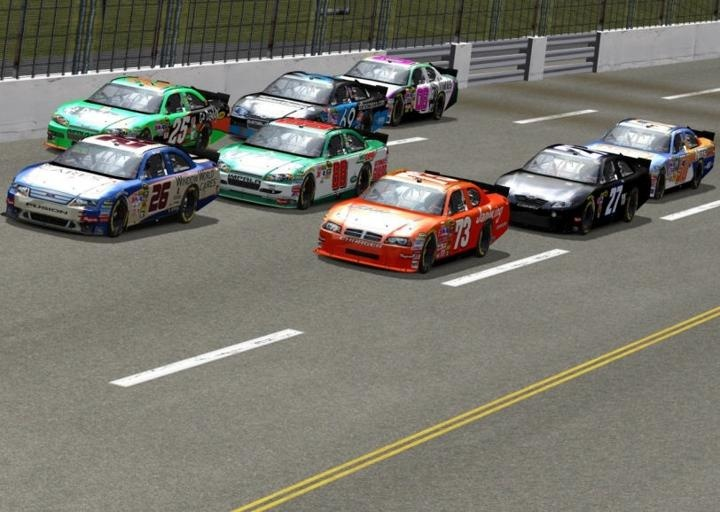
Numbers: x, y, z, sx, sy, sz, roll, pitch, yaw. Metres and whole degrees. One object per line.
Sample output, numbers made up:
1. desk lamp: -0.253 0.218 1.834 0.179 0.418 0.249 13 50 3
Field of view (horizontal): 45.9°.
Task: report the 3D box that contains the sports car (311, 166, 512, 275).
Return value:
1. sports car: 1.098 -0.673 17.017 3.751 1.482 1.916 -14 25 -42
